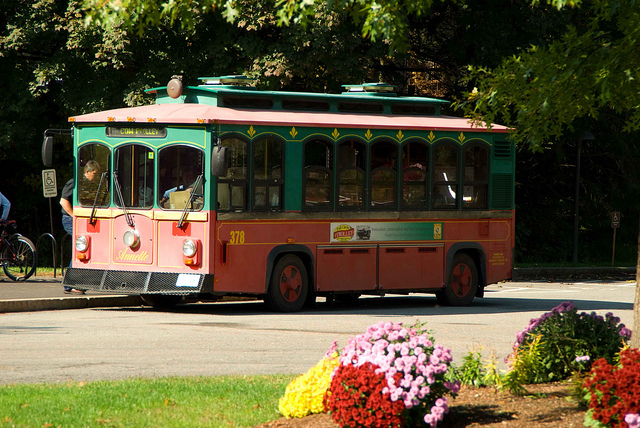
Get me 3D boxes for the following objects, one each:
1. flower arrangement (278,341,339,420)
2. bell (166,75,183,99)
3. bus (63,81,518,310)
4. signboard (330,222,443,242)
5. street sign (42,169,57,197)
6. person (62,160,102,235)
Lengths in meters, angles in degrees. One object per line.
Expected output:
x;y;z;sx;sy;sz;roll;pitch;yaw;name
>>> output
-0.109;2.017;10.986;0.311;0.807;0.532;26;-10;-29;flower arrangement
-2.891;-2.509;18.615;0.213;0.414;0.409;-4;10;-40;bell
0.098;-0.264;20.388;3.931;4.980;10.024;-3;-2;43;bus
1.338;0.350;19.062;2.577;0.422;0.059;-2;8;-26;signboard
-6.260;-0.701;21.614;0.276;0.613;0.603;-1;8;-17;street sign
-4.675;-0.288;18.437;0.660;1.977;0.930;3;25;-14;person
